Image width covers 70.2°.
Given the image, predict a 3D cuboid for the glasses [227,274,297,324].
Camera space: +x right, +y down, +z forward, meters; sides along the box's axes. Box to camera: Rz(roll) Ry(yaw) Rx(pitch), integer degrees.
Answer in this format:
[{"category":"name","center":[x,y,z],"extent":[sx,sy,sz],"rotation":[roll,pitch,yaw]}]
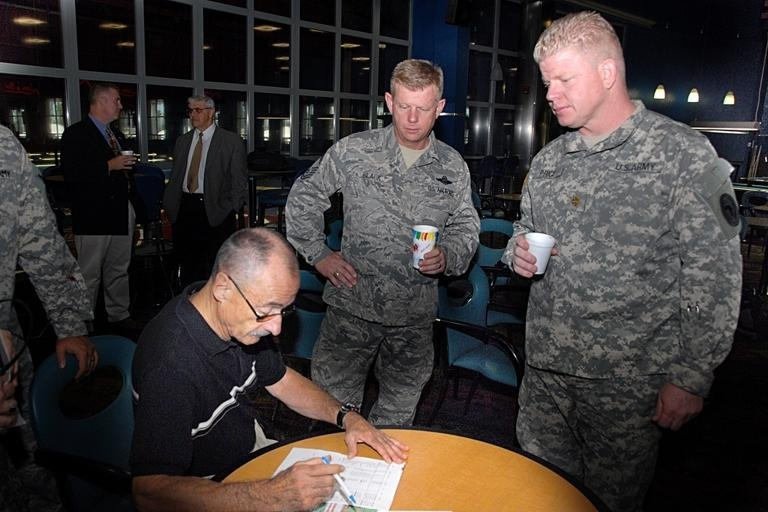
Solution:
[{"category":"glasses","center":[-0.497,0.178,2.165],"extent":[0.205,0.063,0.203],"rotation":[51,16,12]}]

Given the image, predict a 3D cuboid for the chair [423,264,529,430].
[{"category":"chair","center":[0.771,0.593,3.534],"extent":[0.853,1.054,0.754],"rotation":[2,4,27]}]

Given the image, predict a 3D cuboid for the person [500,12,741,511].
[{"category":"person","center":[1.029,0.041,2.411],"extent":[0.941,2.134,0.299],"rotation":[12,14,32]}]

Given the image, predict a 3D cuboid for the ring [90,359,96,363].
[{"category":"ring","center":[-1.289,0.460,2.425],"extent":[0.018,0.012,0.017],"rotation":[-3,0,0]}]

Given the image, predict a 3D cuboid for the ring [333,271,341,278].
[{"category":"ring","center":[-0.256,0.098,2.943],"extent":[0.032,0.028,0.012],"rotation":[-1,16,16]}]

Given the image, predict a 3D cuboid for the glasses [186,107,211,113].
[{"category":"glasses","center":[-1.867,-1.458,5.449],"extent":[0.218,0.056,0.094],"rotation":[6,11,9]}]

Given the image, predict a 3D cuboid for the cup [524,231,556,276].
[{"category":"cup","center":[0.697,-0.024,2.534],"extent":[0.174,0.169,0.169],"rotation":[3,17,-1]}]
